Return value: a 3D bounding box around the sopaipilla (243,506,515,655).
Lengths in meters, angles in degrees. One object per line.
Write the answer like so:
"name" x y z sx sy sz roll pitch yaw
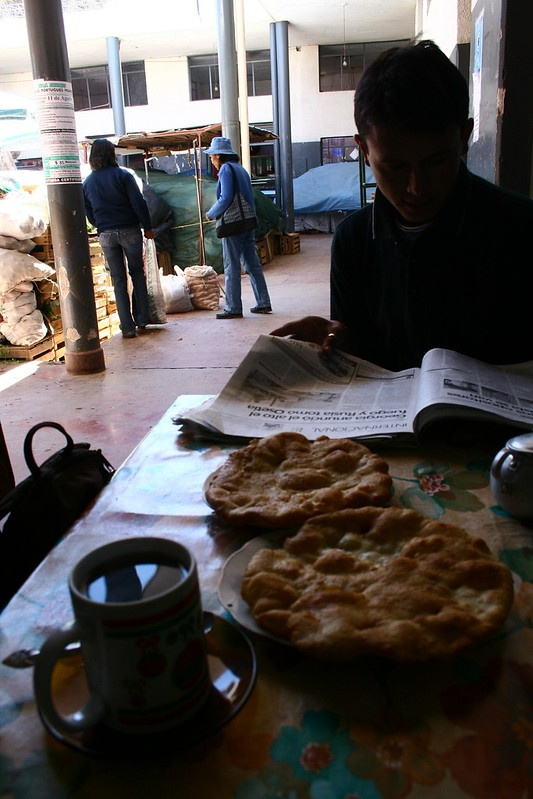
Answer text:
"sopaipilla" 0.099 0.152 0.509 0.226 0.024 0.236 -5 15 -1

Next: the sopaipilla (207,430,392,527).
"sopaipilla" 0.025 0.066 0.722 0.210 0.083 0.184 -11 13 -38
